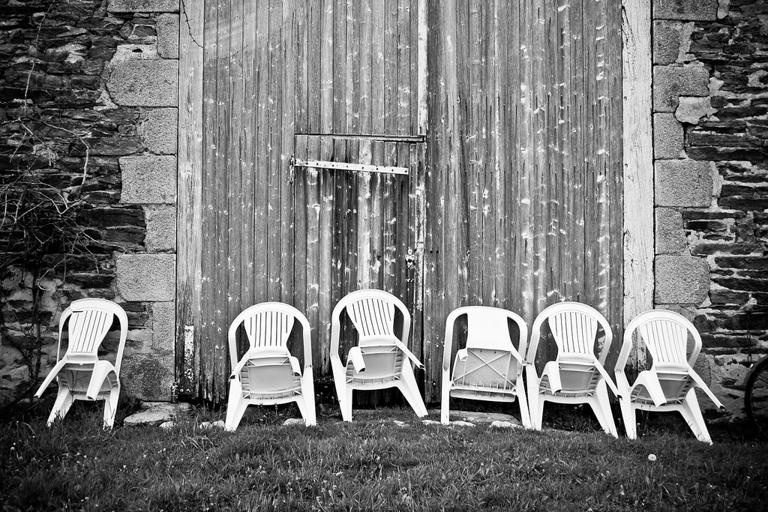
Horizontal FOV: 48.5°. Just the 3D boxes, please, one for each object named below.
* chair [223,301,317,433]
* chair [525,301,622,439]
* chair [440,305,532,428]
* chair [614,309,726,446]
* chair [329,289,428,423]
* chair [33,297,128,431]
[{"bbox_3d":[-0.995,0.926,7.431,0.706,1.135,0.770,-2,-10,-9],"label":"chair"},{"bbox_3d":[1.676,0.991,7.642,0.795,1.126,0.588,-1,1,9],"label":"chair"},{"bbox_3d":[0.893,0.980,7.495,0.752,1.221,0.788,0,-15,10],"label":"chair"},{"bbox_3d":[2.590,1.111,7.809,0.887,1.084,0.969,8,-10,-10],"label":"chair"},{"bbox_3d":[-0.081,0.851,7.687,0.693,0.779,0.970,-1,20,-13],"label":"chair"},{"bbox_3d":[-2.616,0.949,7.357,0.602,1.190,0.853,2,-6,-1],"label":"chair"}]
